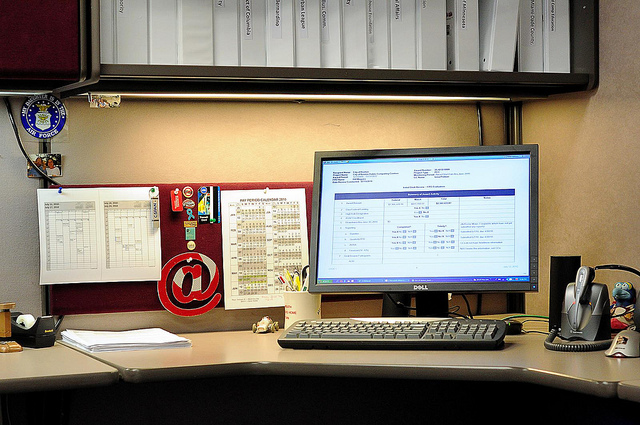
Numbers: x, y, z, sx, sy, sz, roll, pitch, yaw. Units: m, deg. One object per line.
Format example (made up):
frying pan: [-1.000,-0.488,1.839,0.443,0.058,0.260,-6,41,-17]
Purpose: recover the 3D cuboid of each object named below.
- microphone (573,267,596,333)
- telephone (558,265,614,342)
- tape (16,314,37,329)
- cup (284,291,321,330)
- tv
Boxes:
microphone: [0.719,0.230,1.587,0.053,0.185,0.071,2,-20,36]
telephone: [0.746,0.256,1.613,0.138,0.193,0.136,-2,-5,36]
tape: [-0.885,0.327,1.730,0.043,0.032,0.056,5,-3,-33]
cup: [-0.050,0.319,1.901,0.135,0.134,0.142,-3,-5,0]
tv: [0.314,0.019,1.783,0.696,0.432,0.148,0,11,6]
